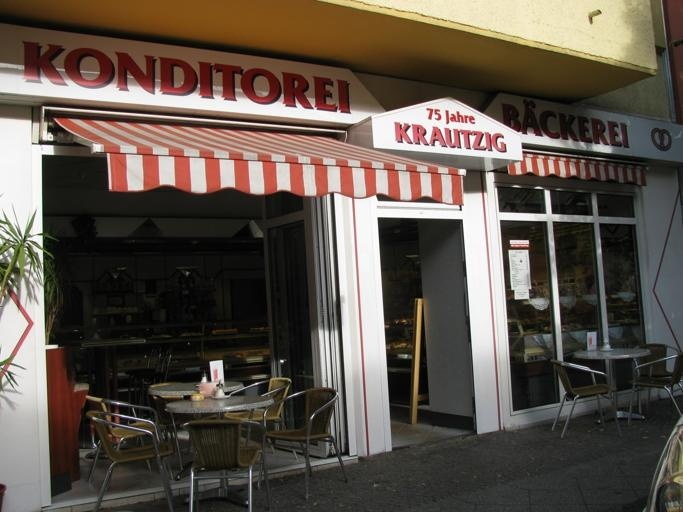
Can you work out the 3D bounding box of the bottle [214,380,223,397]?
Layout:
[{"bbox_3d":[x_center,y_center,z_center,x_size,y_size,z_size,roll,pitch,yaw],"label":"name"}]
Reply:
[{"bbox_3d":[-1.379,1.519,6.860,0.126,0.126,0.122,3,-7,-34],"label":"bottle"}]
